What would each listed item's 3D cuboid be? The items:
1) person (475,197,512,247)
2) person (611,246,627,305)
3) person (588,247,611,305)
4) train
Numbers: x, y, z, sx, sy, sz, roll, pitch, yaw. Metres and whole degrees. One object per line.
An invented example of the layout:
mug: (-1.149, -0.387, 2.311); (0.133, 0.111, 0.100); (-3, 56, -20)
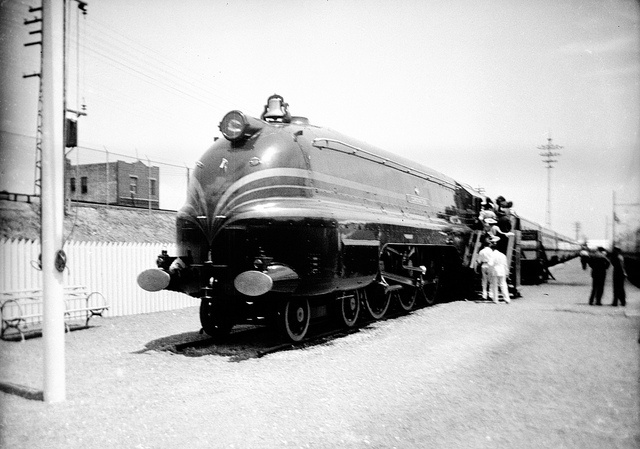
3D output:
person: (6.247, -0.004, 18.342); (0.707, 1.308, 2.394); (-5, -16, 22)
person: (8.987, 1.559, 15.513); (0.424, 1.900, 1.364); (1, 3, 31)
person: (8.639, 1.563, 15.945); (0.578, 1.882, 1.344); (1, 3, 29)
train: (1.004, -0.171, 15.116); (3.782, 4.567, 13.580); (0, 1, 31)
